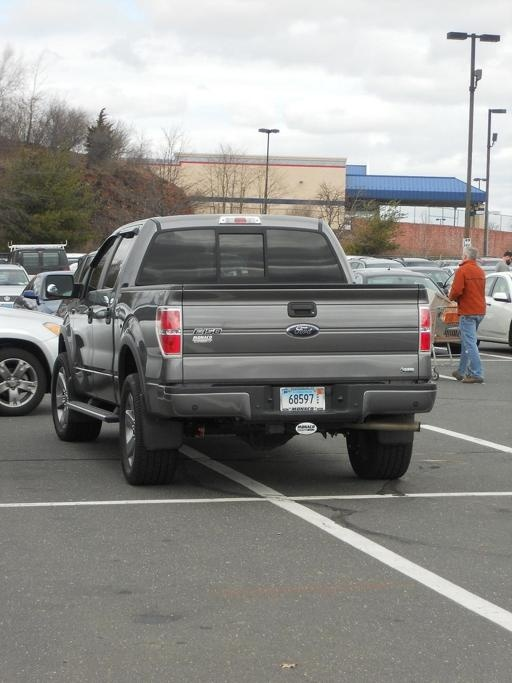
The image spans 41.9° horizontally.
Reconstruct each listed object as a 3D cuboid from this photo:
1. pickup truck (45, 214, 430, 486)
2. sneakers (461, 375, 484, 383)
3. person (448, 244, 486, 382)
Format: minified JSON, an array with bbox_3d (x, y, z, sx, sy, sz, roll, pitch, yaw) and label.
[{"bbox_3d":[-0.540,0.062,6.858,2.477,1.883,4.599,0,2,-26],"label":"pickup truck"},{"bbox_3d":[4.125,0.699,12.840,0.432,0.179,0.160,7,10,40],"label":"sneakers"},{"bbox_3d":[3.985,-0.526,12.693,0.658,2.594,1.023,0,-3,16],"label":"person"}]
